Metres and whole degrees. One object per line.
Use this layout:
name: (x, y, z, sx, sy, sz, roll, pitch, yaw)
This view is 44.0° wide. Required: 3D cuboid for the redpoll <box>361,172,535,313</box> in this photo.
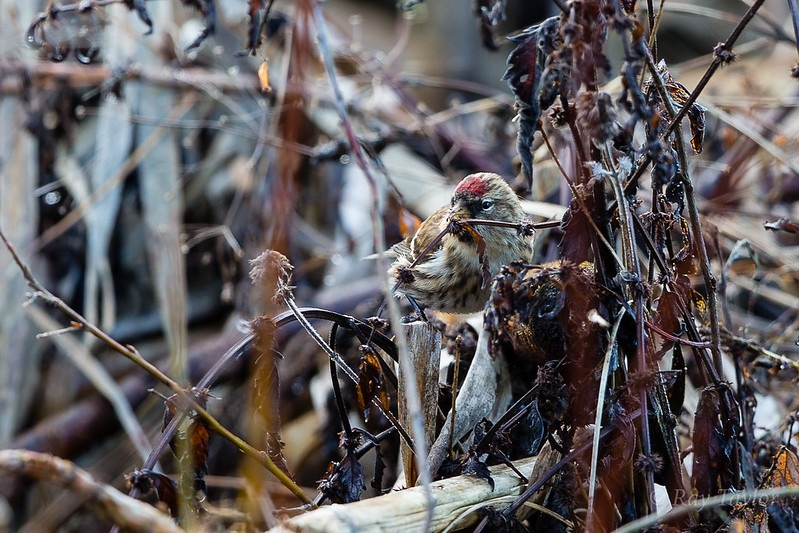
redpoll: (0.209, -0.076, 3.627, 0.593, 0.483, 0.429, 10, 11, 29)
